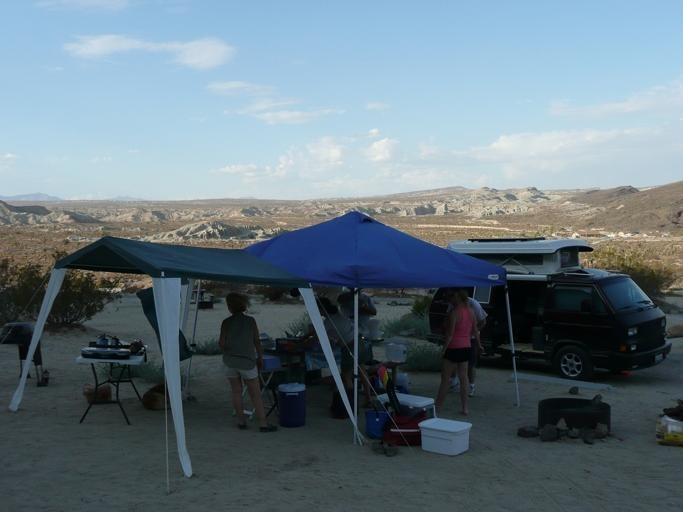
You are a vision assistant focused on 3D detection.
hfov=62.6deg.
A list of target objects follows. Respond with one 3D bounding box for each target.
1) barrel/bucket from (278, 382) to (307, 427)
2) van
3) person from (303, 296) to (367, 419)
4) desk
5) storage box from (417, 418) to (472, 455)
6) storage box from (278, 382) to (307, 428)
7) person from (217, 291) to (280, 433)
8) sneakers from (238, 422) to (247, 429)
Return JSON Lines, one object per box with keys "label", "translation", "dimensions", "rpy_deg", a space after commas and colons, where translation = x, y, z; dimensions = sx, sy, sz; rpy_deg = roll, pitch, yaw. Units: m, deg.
{"label": "barrel/bucket", "translation": [-0.799, 2.421, 9.186], "dimensions": [0.440, 0.653, 0.244], "rpy_deg": [-3, 1, -5]}
{"label": "van", "translation": [4.346, 1.497, 13.539], "dimensions": [5.711, 1.773, 2.894], "rpy_deg": [-3, -2, 38]}
{"label": "person", "translation": [-0.156, 1.754, 9.993], "dimensions": [0.788, 1.888, 1.546], "rpy_deg": [-3, 1, -4]}
{"label": "desk", "translation": [-4.105, 2.182, 10.116], "dimensions": [1.250, 0.659, 1.837], "rpy_deg": [-1, -5, -16]}
{"label": "storage box", "translation": [1.527, 2.606, 8.173], "dimensions": [0.603, 0.411, 0.478], "rpy_deg": [-2, 1, 43]}
{"label": "storage box", "translation": [-0.799, 2.421, 9.186], "dimensions": [0.440, 0.653, 0.244], "rpy_deg": [-3, 1, -5]}
{"label": "person", "translation": [-1.478, 1.666, 8.789], "dimensions": [0.634, 2.061, 0.596], "rpy_deg": [-3, 1, 16]}
{"label": "sneakers", "translation": [-1.587, 2.703, 9.031], "dimensions": [0.085, 0.057, 0.182], "rpy_deg": [2, 5, 3]}
